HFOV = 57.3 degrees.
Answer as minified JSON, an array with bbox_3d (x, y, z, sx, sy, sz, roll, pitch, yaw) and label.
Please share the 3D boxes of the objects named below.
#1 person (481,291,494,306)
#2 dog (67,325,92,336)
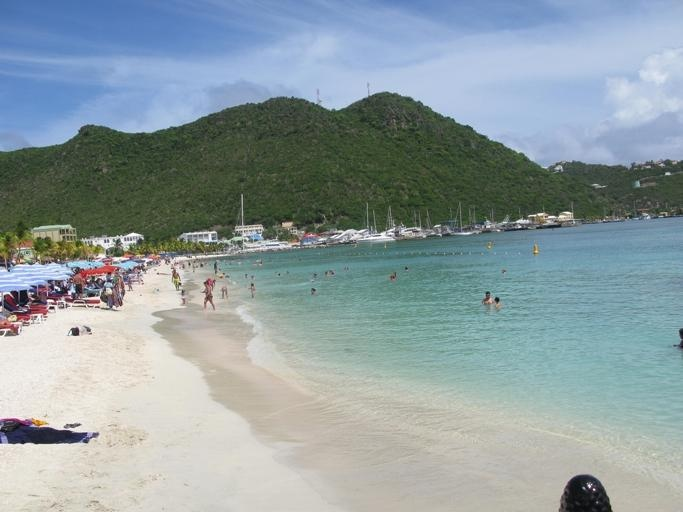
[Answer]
[{"bbox_3d":[8.249,2.342,34.885,0.639,0.670,1.016,3,6,18],"label":"person"},{"bbox_3d":[-10.649,3.048,25.559,0.477,0.220,0.578,2,6,1],"label":"dog"}]
